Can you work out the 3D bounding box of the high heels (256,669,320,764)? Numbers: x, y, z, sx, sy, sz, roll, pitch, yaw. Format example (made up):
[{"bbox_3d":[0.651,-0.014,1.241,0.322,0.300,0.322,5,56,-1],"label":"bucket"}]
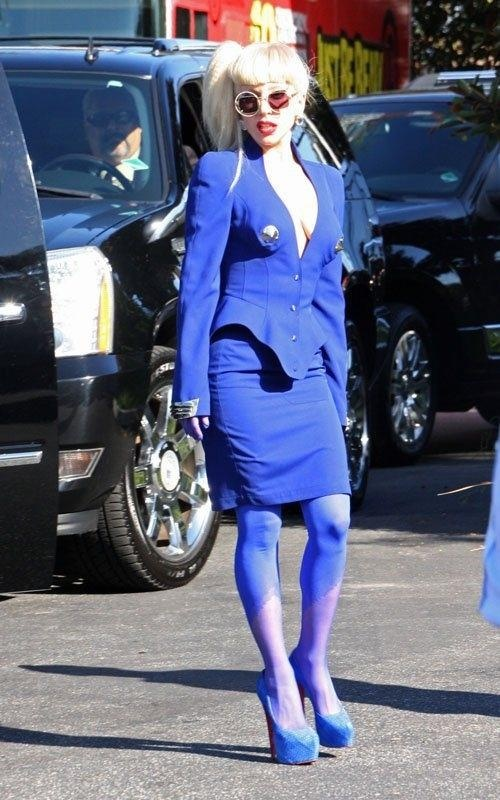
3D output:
[{"bbox_3d":[0.081,0.676,1.851,0.123,0.187,0.114,-1,-3,1],"label":"high heels"}]

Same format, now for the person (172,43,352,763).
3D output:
[{"bbox_3d":[0.044,-0.026,1.931,0.465,1.605,0.294,0,-3,-14],"label":"person"}]
